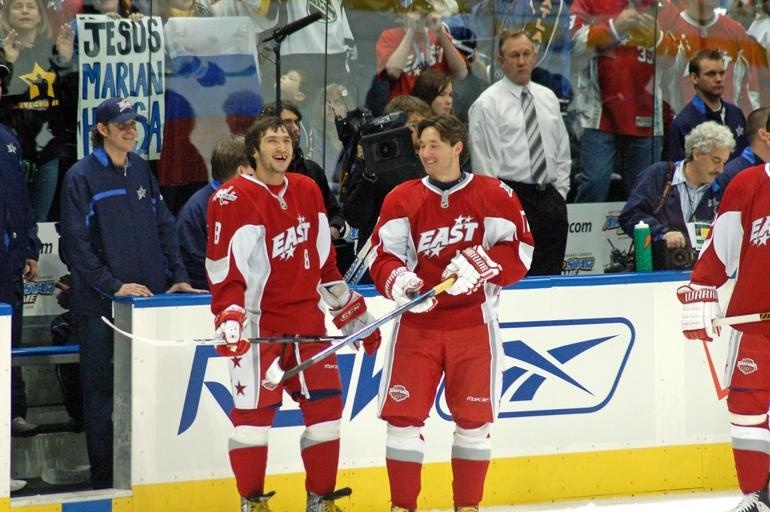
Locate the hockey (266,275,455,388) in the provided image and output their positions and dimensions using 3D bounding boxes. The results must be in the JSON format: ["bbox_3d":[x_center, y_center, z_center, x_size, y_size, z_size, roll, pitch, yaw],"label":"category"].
[{"bbox_3d":[-0.175,0.514,8.962,1.272,0.145,0.182,-30,-22,-5],"label":"hockey"}]

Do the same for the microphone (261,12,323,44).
[{"bbox_3d":[-0.790,-1.915,10.940,0.500,0.139,0.174,-27,-14,17],"label":"microphone"}]

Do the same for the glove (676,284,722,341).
[{"bbox_3d":[2.226,0.404,9.319,0.285,0.401,0.171,-3,4,15],"label":"glove"}]

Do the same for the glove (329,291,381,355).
[{"bbox_3d":[-0.220,0.452,9.199,0.329,0.444,0.188,-24,8,39],"label":"glove"}]

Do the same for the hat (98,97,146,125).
[{"bbox_3d":[-1.992,-1.093,9.937,0.333,0.171,0.241,-1,6,16],"label":"hat"}]

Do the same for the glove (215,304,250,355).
[{"bbox_3d":[-1.014,0.496,8.726,0.229,0.320,0.141,-3,-10,-5],"label":"glove"}]

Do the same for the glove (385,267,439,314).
[{"bbox_3d":[0.192,0.229,8.743,0.297,0.310,0.261,-2,3,-16],"label":"glove"}]
